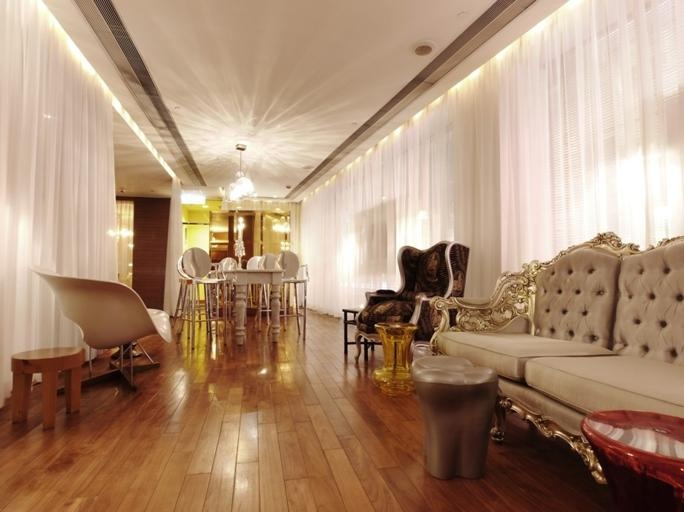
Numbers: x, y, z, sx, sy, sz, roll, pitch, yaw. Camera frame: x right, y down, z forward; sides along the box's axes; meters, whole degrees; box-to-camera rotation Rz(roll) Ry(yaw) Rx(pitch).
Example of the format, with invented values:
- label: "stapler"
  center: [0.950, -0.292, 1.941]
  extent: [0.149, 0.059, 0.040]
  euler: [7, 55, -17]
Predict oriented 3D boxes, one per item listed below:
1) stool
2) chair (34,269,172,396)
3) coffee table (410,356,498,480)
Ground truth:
- label: "stool"
  center: [-2.121, 0.913, 3.398]
  extent: [0.478, 0.592, 0.495]
  euler: [2, -3, -37]
- label: "chair"
  center: [-2.041, 0.483, 4.037]
  extent: [1.034, 1.069, 0.986]
  euler: [0, 0, -32]
- label: "coffee table"
  center: [0.615, 0.981, 2.881]
  extent: [0.507, 0.726, 0.562]
  euler: [0, -7, 7]
